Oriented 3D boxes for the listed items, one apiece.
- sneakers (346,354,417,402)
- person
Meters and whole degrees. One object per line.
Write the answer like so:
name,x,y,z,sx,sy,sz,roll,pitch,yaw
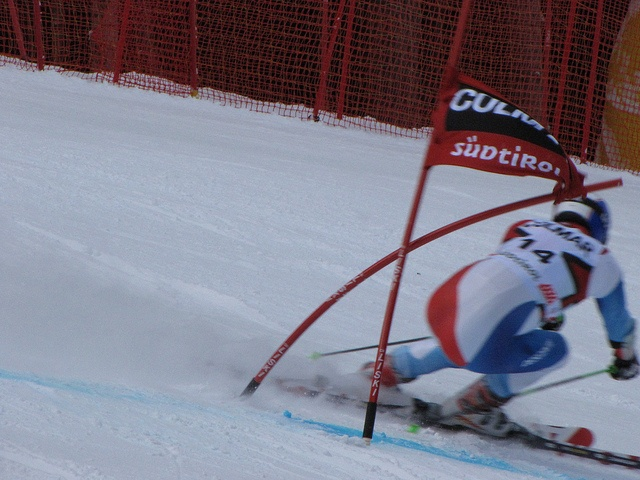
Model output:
sneakers,0.342,0.728,3.932,0.381,0.159,0.177,1,19,7
person,1.018,0.390,3.830,1.210,1.312,0.423,10,17,-14
